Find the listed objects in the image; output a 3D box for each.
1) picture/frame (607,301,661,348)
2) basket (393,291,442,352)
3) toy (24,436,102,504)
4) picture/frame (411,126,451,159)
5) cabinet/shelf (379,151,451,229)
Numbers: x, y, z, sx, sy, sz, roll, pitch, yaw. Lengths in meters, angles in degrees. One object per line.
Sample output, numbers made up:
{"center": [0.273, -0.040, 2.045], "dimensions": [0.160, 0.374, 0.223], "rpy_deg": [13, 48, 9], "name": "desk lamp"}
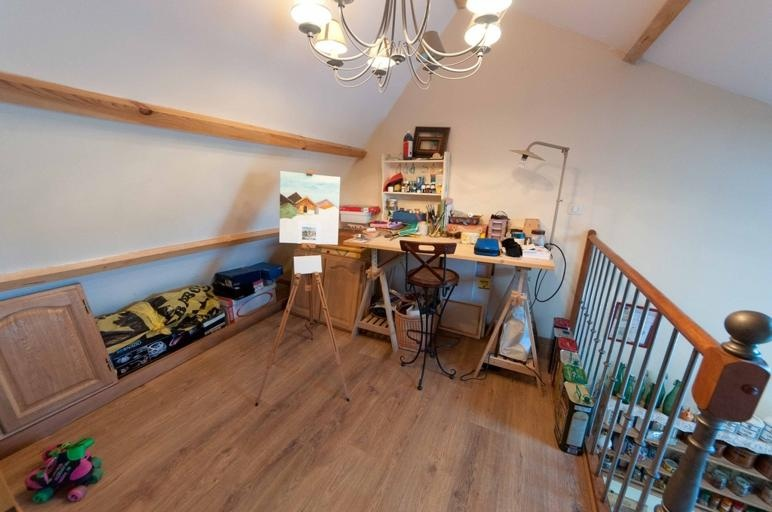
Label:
{"center": [1.912, 0.524, 3.487], "dimensions": [0.536, 0.377, 0.023], "rpy_deg": [11, 7, -40], "name": "picture/frame"}
{"center": [0.268, 0.649, 4.479], "dimensions": [0.412, 0.431, 0.403], "rpy_deg": [-8, 13, -33], "name": "basket"}
{"center": [-2.301, 1.548, 3.223], "dimensions": [0.411, 0.293, 0.416], "rpy_deg": [6, 0, 38], "name": "toy"}
{"center": [0.492, -1.203, 4.767], "dimensions": [0.359, 0.365, 0.029], "rpy_deg": [3, 1, 23], "name": "picture/frame"}
{"center": [0.344, -0.726, 4.881], "dimensions": [0.816, 0.849, 0.274], "rpy_deg": [4, 11, 21], "name": "cabinet/shelf"}
